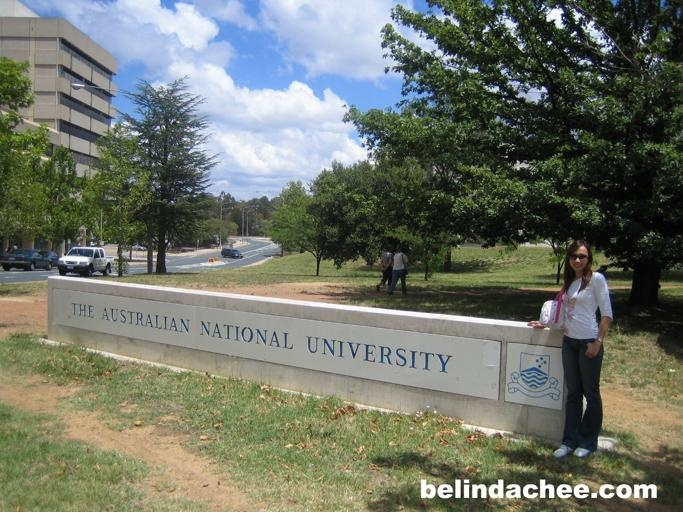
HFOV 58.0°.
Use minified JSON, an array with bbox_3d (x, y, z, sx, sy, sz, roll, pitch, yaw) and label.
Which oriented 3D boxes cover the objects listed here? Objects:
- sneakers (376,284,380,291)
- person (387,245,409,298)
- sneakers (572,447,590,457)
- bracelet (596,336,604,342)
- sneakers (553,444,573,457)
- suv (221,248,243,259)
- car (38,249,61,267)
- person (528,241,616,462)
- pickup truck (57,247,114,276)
[{"bbox_3d":[1.457,1.252,24.413,0.180,0.313,0.175,1,6,-2],"label":"sneakers"},{"bbox_3d":[2.120,0.431,22.258,0.592,2.065,0.659,4,35,9],"label":"person"},{"bbox_3d":[3.391,2.748,8.661,0.279,0.100,0.131,0,12,-11],"label":"sneakers"},{"bbox_3d":[3.590,1.151,8.540,0.067,0.058,0.072,0,-3,-7],"label":"bracelet"},{"bbox_3d":[3.135,2.761,8.707,0.332,0.146,0.119,-3,-6,-45],"label":"sneakers"},{"bbox_3d":[-15.135,-0.287,83.138,2.668,1.247,1.584,0,1,30],"label":"suv"},{"bbox_3d":[-20.902,0.168,43.990,0.993,1.087,2.347,-1,-6,26],"label":"car"},{"bbox_3d":[3.400,1.274,8.787,0.629,2.923,0.894,-1,11,-13],"label":"person"},{"bbox_3d":[-14.923,0.306,36.226,1.488,1.340,2.931,0,-6,7],"label":"pickup truck"}]
